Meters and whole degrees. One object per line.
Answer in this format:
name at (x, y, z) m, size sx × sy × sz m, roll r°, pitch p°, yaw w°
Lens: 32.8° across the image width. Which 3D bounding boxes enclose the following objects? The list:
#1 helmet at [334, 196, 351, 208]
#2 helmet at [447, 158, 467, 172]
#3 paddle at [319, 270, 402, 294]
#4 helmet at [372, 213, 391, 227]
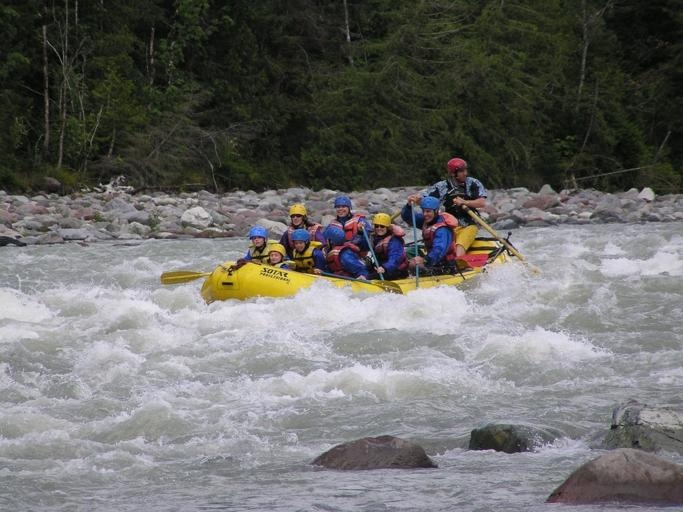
helmet at (-0.024, -1.206, 25.525) m, size 0.321 × 0.274 × 0.378 m, roll 0°, pitch 10°, yaw 11°
helmet at (2.583, -2.098, 26.682) m, size 0.434 × 0.274 × 0.384 m, roll 17°, pitch 22°, yaw 15°
paddle at (0.328, 0.547, 24.741) m, size 2.041 × 0.258 × 0.197 m, roll 7°, pitch -25°, yaw 2°
helmet at (0.885, -0.782, 25.523) m, size 0.326 × 0.236 × 0.359 m, roll 8°, pitch -15°, yaw 7°
